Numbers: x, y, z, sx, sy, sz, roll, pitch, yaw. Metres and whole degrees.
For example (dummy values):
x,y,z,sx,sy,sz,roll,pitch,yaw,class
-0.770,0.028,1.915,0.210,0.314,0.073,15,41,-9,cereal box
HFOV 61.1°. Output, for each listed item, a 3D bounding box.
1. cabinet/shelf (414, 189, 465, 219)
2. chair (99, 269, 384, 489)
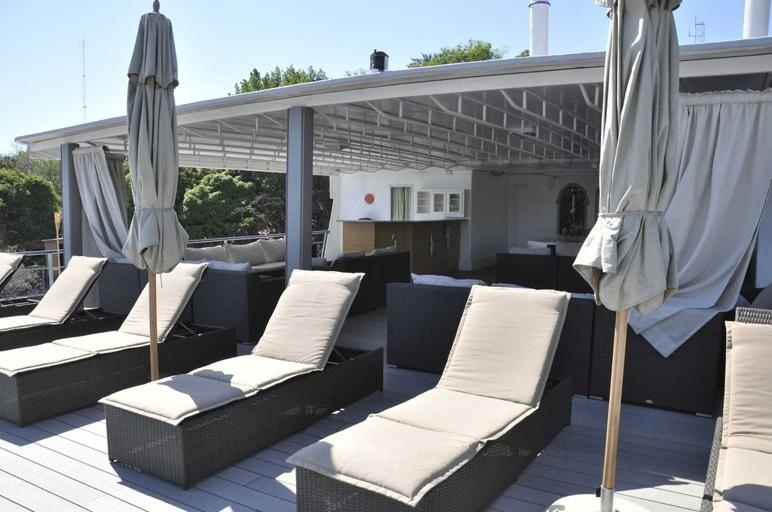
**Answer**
x,y,z,sx,sy,sz,roll,pitch,yaw,class
1.324,-1.331,16.567,1.439,0.702,0.221,6,13,38,cabinet/shelf
-1.188,1.059,6.444,1.404,1.475,2.761,1,3,37,chair
